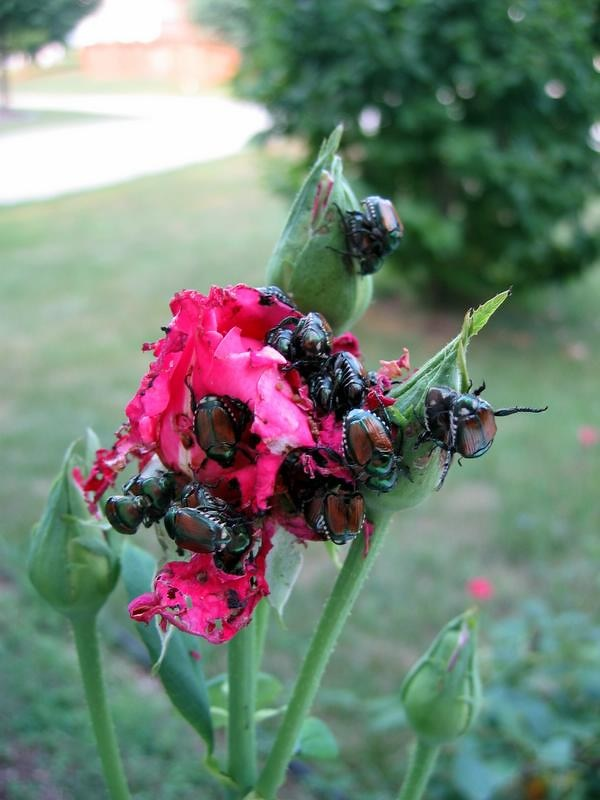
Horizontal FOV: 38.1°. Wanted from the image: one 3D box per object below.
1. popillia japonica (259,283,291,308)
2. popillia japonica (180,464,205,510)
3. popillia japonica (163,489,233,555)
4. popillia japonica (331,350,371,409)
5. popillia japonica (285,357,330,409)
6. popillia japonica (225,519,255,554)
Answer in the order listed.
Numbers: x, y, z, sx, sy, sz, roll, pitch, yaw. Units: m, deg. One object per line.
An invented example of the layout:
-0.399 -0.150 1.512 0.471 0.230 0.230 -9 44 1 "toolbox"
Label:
-0.017 -0.071 0.605 0.016 0.008 0.024 47 17 28 "popillia japonica"
-0.068 0.056 0.554 0.014 0.008 0.023 15 44 -5 "popillia japonica"
-0.062 0.076 0.532 0.042 0.021 0.044 5 43 -17 "popillia japonica"
0.032 -0.013 0.592 0.030 0.021 0.033 22 57 -35 "popillia japonica"
-0.002 -0.010 0.557 0.012 0.027 0.035 20 32 -41 "popillia japonica"
-0.038 0.087 0.550 0.019 0.020 0.009 11 0 -36 "popillia japonica"
